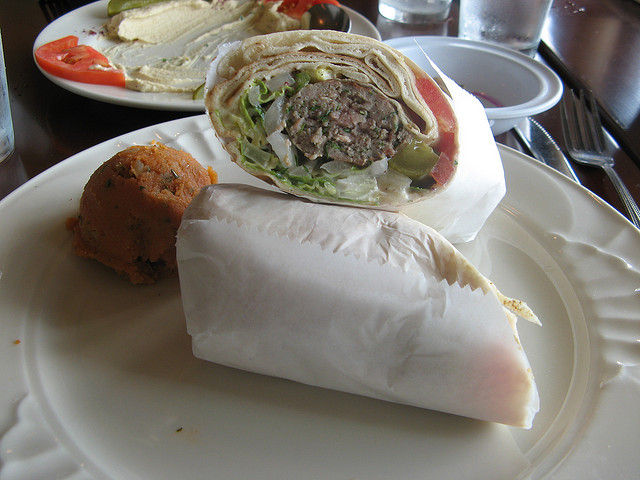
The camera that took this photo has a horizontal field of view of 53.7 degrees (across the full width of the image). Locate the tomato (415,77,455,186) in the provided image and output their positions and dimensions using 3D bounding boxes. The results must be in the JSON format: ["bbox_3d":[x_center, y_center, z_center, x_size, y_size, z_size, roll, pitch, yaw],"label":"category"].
[{"bbox_3d":[0.378,-0.353,2.013,0.090,0.198,0.270,-15,61,-11],"label":"tomato"}]

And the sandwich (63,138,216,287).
[{"bbox_3d":[-0.612,-0.080,2.089,0.429,0.170,0.475,-8,55,-1],"label":"sandwich"}]
